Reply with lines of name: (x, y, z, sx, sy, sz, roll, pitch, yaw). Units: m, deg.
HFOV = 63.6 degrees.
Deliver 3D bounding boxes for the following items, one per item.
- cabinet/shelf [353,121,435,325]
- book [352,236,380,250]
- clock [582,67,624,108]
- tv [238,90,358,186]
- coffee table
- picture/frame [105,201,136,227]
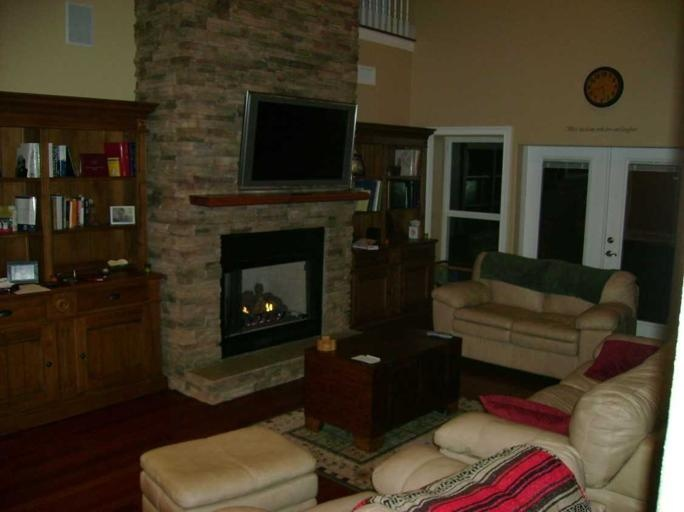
cabinet/shelf: (0.661, -0.434, 7.137, 0.812, 2.484, 1.721, 10, 14, 35)
book: (0.301, -0.128, 6.837, 0.330, 0.116, 0.476, 2, 12, 3)
clock: (2.970, -1.929, 6.279, 0.105, 0.445, 0.445, -7, 14, -35)
tv: (-0.398, -1.100, 5.421, 0.144, 0.900, 1.412, 12, 16, 42)
coffee table: (0.284, 0.722, 4.280, 0.755, 0.640, 1.252, 9, 13, 41)
picture/frame: (-1.963, -0.361, 4.894, 0.252, 0.217, 0.034, -2, 2, -30)
